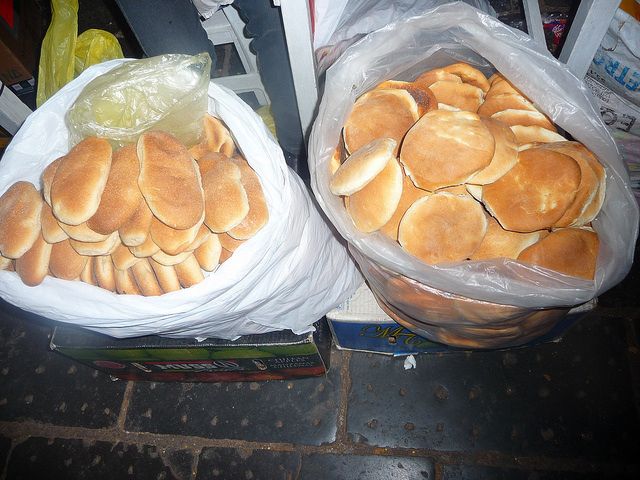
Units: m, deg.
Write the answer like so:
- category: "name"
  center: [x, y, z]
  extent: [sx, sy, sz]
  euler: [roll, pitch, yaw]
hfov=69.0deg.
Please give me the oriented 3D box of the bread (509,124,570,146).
- category: "bread"
  center: [0.682, -0.334, 1.470]
  extent: [0.101, 0.024, 0.095]
  euler: [11, 27, -5]

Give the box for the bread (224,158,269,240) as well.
- category: "bread"
  center: [-0.209, -0.116, 1.384]
  extent: [0.122, 0.070, 0.221]
  euler: [3, 80, -30]

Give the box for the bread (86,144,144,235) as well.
- category: "bread"
  center: [-0.560, -0.148, 1.364]
  extent: [0.132, 0.063, 0.245]
  euler: [-1, 69, 40]

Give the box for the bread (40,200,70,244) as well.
- category: "bread"
  center: [-0.818, -0.042, 1.445]
  extent: [0.161, 0.052, 0.159]
  euler: [-61, 37, 25]

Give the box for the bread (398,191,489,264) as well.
- category: "bread"
  center: [0.361, -0.032, 1.373]
  extent: [0.252, 0.084, 0.198]
  euler: [0, 69, 8]

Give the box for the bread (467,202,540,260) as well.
- category: "bread"
  center: [0.587, 0.003, 1.448]
  extent: [0.136, 0.052, 0.163]
  euler: [23, 45, 10]

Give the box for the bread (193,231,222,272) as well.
- category: "bread"
  center: [-0.341, 0.035, 1.392]
  extent: [0.078, 0.029, 0.119]
  euler: [3, 88, 2]

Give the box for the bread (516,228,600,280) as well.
- category: "bread"
  center: [0.723, 0.021, 1.398]
  extent: [0.215, 0.060, 0.167]
  euler: [17, 72, 14]

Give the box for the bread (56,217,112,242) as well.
- category: "bread"
  center: [-0.684, -0.020, 1.346]
  extent: [0.075, 0.100, 0.030]
  euler: [-11, 67, 28]

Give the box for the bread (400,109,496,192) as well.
- category: "bread"
  center: [0.377, -0.279, 1.374]
  extent: [0.291, 0.076, 0.310]
  euler: [-6, 59, 11]

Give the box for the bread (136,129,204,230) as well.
- category: "bread"
  center: [-0.430, -0.149, 1.371]
  extent: [0.199, 0.351, 0.079]
  euler: [9, 50, 6]

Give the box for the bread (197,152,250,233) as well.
- category: "bread"
  center: [-0.282, -0.139, 1.420]
  extent: [0.135, 0.075, 0.234]
  euler: [-10, 75, 1]

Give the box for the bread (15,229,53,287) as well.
- category: "bread"
  center: [-0.865, 0.050, 1.423]
  extent: [0.090, 0.055, 0.176]
  euler: [6, 94, 0]

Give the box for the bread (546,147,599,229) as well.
- category: "bread"
  center: [0.747, -0.158, 1.395]
  extent: [0.204, 0.063, 0.212]
  euler: [12, 96, -7]

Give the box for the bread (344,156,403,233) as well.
- category: "bread"
  center: [0.168, -0.151, 1.435]
  extent: [0.077, 0.321, 0.261]
  euler: [8, 96, -25]

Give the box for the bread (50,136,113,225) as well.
- category: "bread"
  center: [-0.673, -0.166, 1.369]
  extent: [0.133, 0.078, 0.261]
  euler: [8, 77, 6]
